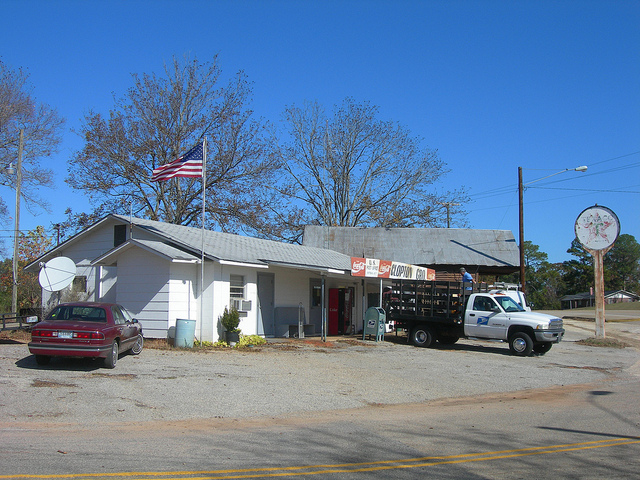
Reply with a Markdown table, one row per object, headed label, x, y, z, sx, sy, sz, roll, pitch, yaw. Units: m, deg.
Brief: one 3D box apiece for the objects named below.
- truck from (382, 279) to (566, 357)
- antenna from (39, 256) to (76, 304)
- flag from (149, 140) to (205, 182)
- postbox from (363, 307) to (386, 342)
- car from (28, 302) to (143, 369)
| label | x | y | z | sx | sy | sz | roll | pitch | yaw |
| --- | --- | --- | --- | --- | --- | --- | --- | --- | --- |
| truck | 6.135 | 3.085 | 25.747 | 6.459 | 2.941 | 3.044 | -6 | -7 | 36 |
| antenna | -9.666 | 1.272 | 23.244 | 1.182 | 1.654 | 0.515 | 2 | 0 | -27 |
| flag | -5.244 | -2.981 | 23.875 | 1.817 | 1.602 | 0.789 | 2 | 0 | -4 |
| postbox | 2.357 | 3.671 | 27.140 | 0.676 | 1.429 | 0.976 | 2 | -1 | -44 |
| car | -6.417 | 2.660 | 17.295 | 2.809 | 1.827 | 1.901 | 3 | -1 | -37 |
